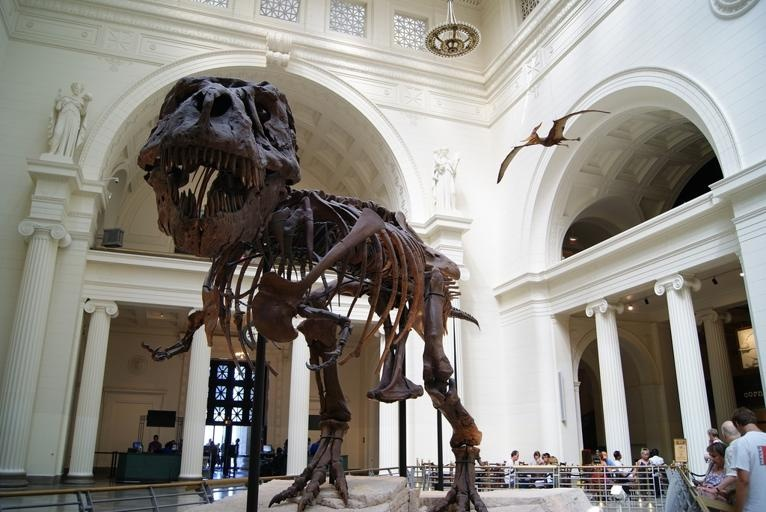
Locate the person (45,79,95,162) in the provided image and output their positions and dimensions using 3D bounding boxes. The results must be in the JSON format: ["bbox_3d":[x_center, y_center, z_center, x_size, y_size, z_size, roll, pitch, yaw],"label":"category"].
[{"bbox_3d":[-8.695,-3.800,13.647,0.886,2.376,0.730,5,-20,-27],"label":"person"}]

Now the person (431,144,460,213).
[{"bbox_3d":[2.130,-2.598,16.562,0.894,2.578,0.652,1,-22,-9],"label":"person"}]

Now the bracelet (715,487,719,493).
[{"bbox_3d":[3.654,2.536,5.387,0.028,0.030,0.070,-13,-43,5],"label":"bracelet"}]

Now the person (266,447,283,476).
[{"bbox_3d":[-3.565,6.843,16.543,0.466,0.692,1.605,2,-22,-10],"label":"person"}]
